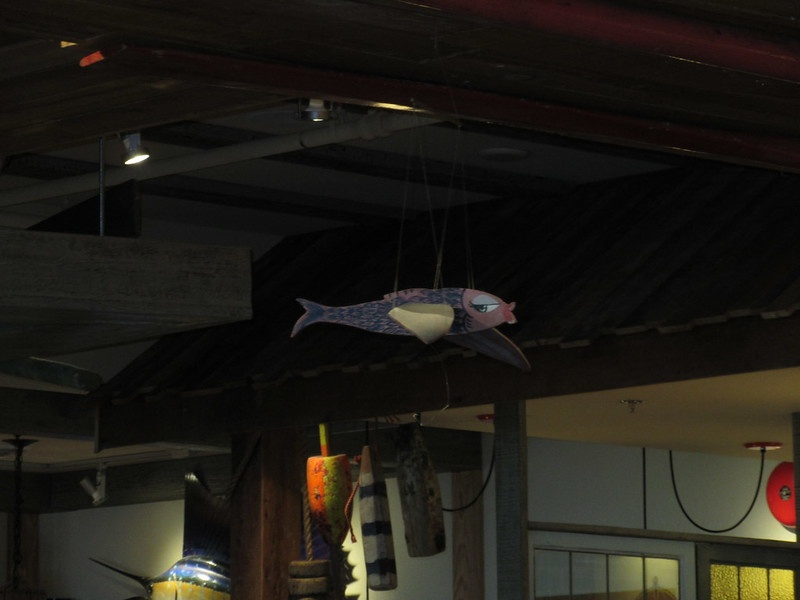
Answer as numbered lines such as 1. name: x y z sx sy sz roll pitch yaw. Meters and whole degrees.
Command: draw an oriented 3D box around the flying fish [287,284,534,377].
1. flying fish: 0.034 0.088 7.289 1.045 0.201 0.875 -2 -14 2
